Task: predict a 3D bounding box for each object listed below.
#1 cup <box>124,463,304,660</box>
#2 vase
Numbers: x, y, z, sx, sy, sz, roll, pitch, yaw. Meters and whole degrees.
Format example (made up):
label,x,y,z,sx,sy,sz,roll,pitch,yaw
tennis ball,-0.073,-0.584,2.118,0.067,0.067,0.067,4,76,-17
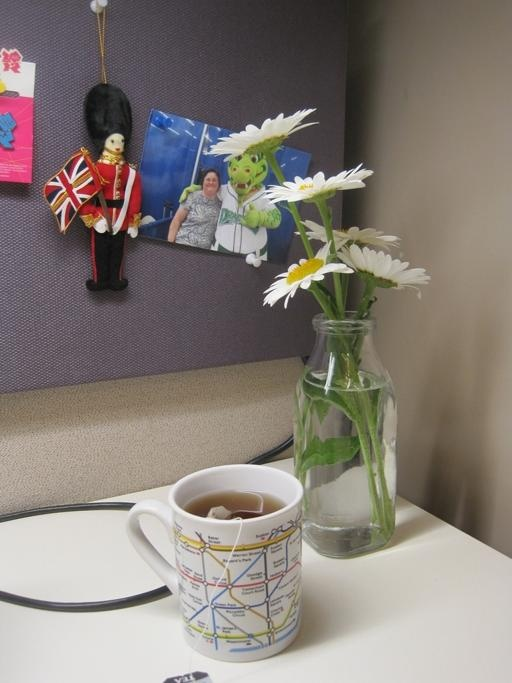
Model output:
label,x,y,z,sx,sy,sz,roll,pitch,yaw
cup,-0.015,0.156,0.418,0.089,0.113,0.092,-1,12,0
vase,0.081,0.085,0.530,0.089,0.212,0.051,0,12,3
